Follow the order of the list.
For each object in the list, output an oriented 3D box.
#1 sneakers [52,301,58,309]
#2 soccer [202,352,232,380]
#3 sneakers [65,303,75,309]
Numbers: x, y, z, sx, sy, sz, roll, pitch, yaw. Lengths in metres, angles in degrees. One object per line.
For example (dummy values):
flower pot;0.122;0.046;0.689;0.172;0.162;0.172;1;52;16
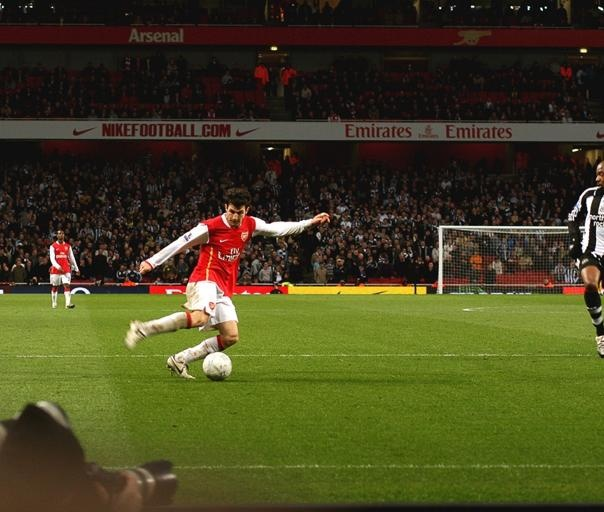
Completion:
sneakers;-5.931;1.184;22.514;0.165;0.195;0.161;2;-3;-42
soccer;-0.941;1.263;10.612;0.284;0.306;0.292;5;-37;9
sneakers;-5.562;1.203;22.375;0.168;0.060;0.117;6;-20;-40
